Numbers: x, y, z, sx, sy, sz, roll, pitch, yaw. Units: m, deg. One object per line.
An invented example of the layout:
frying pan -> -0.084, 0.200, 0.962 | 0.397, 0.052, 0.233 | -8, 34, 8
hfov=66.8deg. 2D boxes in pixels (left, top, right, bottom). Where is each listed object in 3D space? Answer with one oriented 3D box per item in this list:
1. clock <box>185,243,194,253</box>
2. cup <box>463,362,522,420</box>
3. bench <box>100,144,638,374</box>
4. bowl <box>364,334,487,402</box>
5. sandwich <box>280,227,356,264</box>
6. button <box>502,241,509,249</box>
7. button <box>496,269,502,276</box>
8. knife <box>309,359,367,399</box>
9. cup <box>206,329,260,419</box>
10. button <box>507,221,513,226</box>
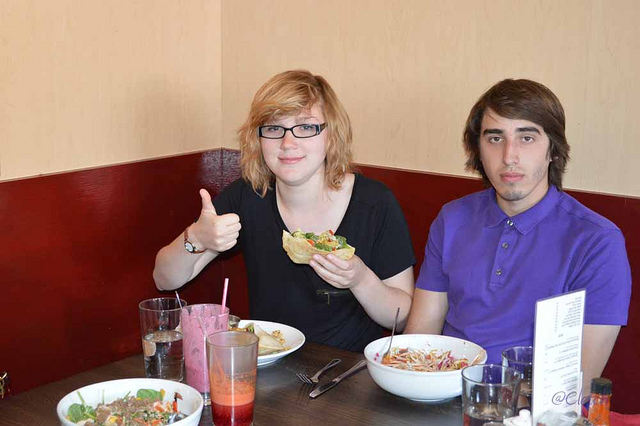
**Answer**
clock -> -0.614, 0.162, 2.292 | 0.036, 0.051, 0.028 | -3, 8, -16
cup -> 0.489, 0.492, 1.426 | 0.160, 0.157, 0.142 | 1, -1, -30
bench -> 0.274, 0.194, 2.264 | 1.205, 0.521, 1.222 | 7, 10, 38
bowl -> 0.379, 0.547, 1.767 | 0.400, 0.155, 0.469 | 4, 9, 31
sandwich -> -0.015, 0.139, 2.169 | 0.220, 0.109, 0.188 | 10, 5, -3
button -> 0.794, 0.136, 2.083 | 0.025, 0.025, 0.007 | 0, -15, 8
button -> 0.760, 0.250, 2.065 | 0.022, 0.023, 0.005 | -3, -14, 18
knife -> 0.066, 0.600, 1.747 | 0.043, 0.029, 0.417 | 10, 14, 24
cup -> -0.279, 0.502, 1.526 | 0.164, 0.265, 0.137 | 6, 10, 39
button -> 0.818, 0.042, 2.091 | 0.021, 0.019, 0.003 | 3, 9, 27
